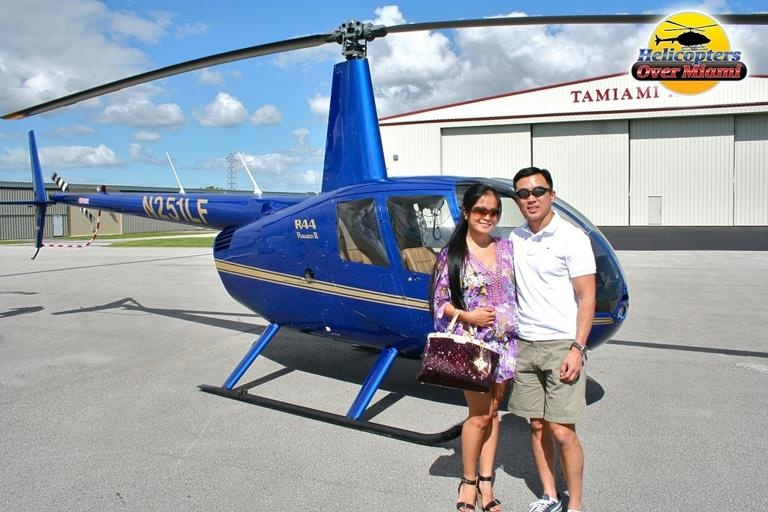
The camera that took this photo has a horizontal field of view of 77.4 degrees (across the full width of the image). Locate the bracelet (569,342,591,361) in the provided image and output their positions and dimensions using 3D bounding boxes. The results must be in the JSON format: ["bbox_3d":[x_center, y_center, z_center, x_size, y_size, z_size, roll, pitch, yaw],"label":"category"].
[{"bbox_3d":[1.296,0.617,3.162,0.095,0.139,0.134,-2,10,18],"label":"bracelet"}]

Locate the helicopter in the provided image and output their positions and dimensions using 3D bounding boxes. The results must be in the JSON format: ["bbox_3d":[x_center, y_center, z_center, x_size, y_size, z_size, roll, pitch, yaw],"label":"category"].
[{"bbox_3d":[-0.146,-0.209,5.352,5.670,2.048,5.073,2,5,25],"label":"helicopter"}]
